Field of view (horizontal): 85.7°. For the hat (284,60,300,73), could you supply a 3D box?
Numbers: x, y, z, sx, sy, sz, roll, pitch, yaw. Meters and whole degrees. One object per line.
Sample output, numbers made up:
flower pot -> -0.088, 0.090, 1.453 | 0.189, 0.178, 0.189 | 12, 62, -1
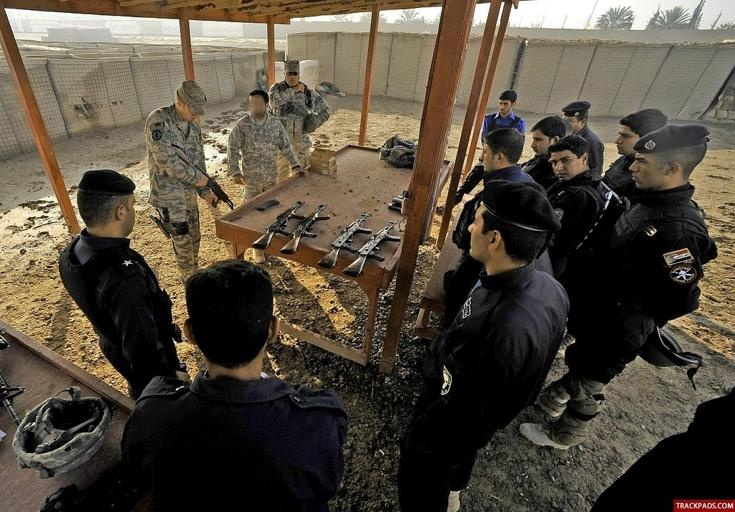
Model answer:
hat -> -1.224, -3.037, 6.355 | 0.196, 0.173, 0.157 | 12, 36, 11

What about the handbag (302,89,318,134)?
handbag -> -1.005, -2.556, 6.916 | 0.188, 0.690, 0.273 | 3, 22, -8

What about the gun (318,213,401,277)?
gun -> 0.078, -0.277, 4.018 | 0.613, 0.253, 1.590 | 13, 23, 23

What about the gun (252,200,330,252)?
gun -> -0.778, -0.335, 4.157 | 0.479, 0.223, 0.702 | -3, 39, 26

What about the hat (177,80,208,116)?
hat -> -2.021, -1.786, 4.545 | 0.304, 0.418, 0.331 | 1, 36, -4

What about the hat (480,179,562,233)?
hat -> 1.024, -0.278, 2.722 | 0.463, 0.159, 0.372 | 30, 46, 19

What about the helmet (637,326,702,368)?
helmet -> 2.693, 0.843, 3.519 | 0.400, 0.224, 0.535 | -8, 20, -44

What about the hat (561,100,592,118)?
hat -> 3.134, -2.189, 5.837 | 0.335, 0.134, 0.380 | 19, 38, 40

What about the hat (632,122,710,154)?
hat -> 2.609, -1.009, 3.389 | 0.457, 0.136, 0.305 | -8, 17, 23

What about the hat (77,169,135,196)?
hat -> -1.878, -0.511, 2.847 | 0.270, 0.096, 0.292 | 3, 12, -6

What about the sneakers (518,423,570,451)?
sneakers -> 1.656, 1.689, 3.850 | 0.520, 0.209, 0.182 | 13, 44, 16

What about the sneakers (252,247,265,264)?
sneakers -> -1.426, -0.009, 5.181 | 0.160, 0.173, 0.372 | 6, -4, -10
